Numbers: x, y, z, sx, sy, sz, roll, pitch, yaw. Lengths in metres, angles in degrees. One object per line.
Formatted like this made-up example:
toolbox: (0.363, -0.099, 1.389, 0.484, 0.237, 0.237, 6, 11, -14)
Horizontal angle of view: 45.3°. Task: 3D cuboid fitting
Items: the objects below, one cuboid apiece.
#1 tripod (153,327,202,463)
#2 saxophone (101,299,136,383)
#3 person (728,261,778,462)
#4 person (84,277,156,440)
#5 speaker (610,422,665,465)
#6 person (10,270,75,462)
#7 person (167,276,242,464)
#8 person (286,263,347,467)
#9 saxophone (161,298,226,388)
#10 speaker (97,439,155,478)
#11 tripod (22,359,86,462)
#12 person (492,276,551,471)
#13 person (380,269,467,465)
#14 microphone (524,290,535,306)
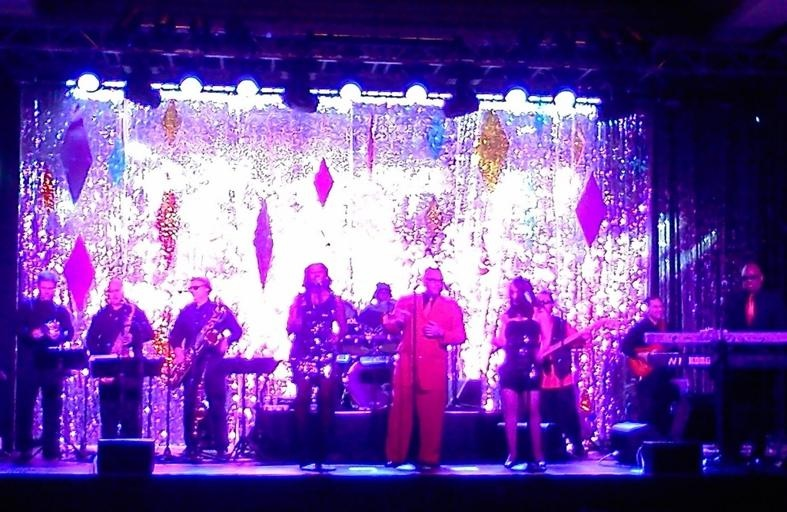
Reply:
tripod: (-2.541, 1.689, 11.544, 0.461, 1.570, 0.841, 2, -10, -14)
saxophone: (-3.290, 1.032, 11.377, 0.269, 0.994, 0.181, -3, -32, 34)
person: (4.097, 1.203, 10.850, 0.602, 2.197, 0.663, -4, -9, 40)
person: (-3.224, 1.206, 11.347, 0.935, 1.908, 0.613, -8, -12, 41)
speaker: (2.872, 2.226, 11.368, 0.507, 0.448, 0.522, 1, -9, 10)
person: (-4.330, 1.293, 11.635, 0.716, 2.360, 0.658, -2, 20, -35)
person: (-2.335, 1.365, 11.371, 0.819, 2.214, 0.614, 9, -9, -19)
person: (-0.882, 1.282, 10.850, 0.828, 2.474, 0.688, 5, -11, -39)
saxophone: (-2.438, 1.068, 11.493, 0.567, 0.948, 0.435, -2, 5, -18)
speaker: (-2.643, 1.971, 9.107, 0.618, 0.379, 0.325, 11, -25, -41)
tripod: (-4.139, 1.819, 11.369, 1.110, 1.224, 0.513, -5, -10, 27)
person: (1.443, 1.397, 10.866, 0.569, 2.252, 0.712, -2, 0, 4)
person: (0.339, 1.299, 11.041, 0.980, 2.343, 0.697, 3, -8, 6)
microphone: (1.603, 0.479, 11.146, 0.129, 0.172, 0.079, 8, 34, 45)
